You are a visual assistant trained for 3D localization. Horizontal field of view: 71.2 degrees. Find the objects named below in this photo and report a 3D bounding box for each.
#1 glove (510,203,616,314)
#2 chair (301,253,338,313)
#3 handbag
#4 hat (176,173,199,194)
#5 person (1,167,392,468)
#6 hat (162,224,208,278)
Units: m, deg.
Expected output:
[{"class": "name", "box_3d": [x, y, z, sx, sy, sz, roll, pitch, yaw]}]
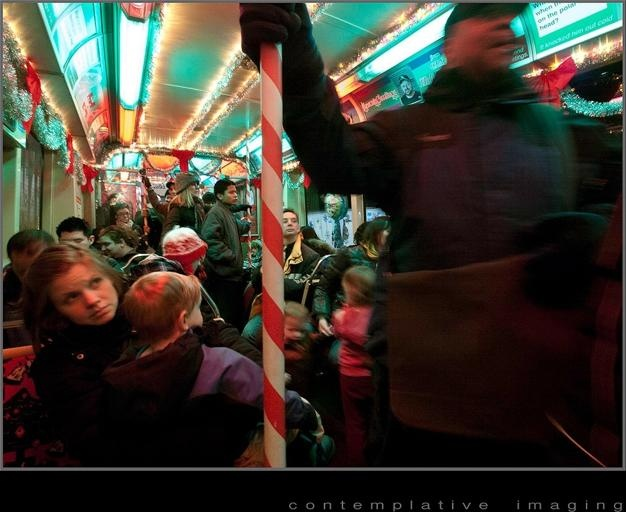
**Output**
[{"class": "glove", "box_3d": [0.904, 0.006, 1.582, 0.279, 0.352, 0.365, 4, 6, -43]}, {"class": "chair", "box_3d": [-0.026, 0.092, 1.719, 0.182, 0.257, 0.162, 4, -2, -10]}, {"class": "handbag", "box_3d": [0.778, 0.432, 1.936, 0.830, 0.681, 0.757, 14, -17, -37]}, {"class": "hat", "box_3d": [-0.499, -0.288, 1.752, 0.089, 0.072, 0.068, -17, 9, -14]}, {"class": "person", "box_3d": [-0.701, 0.342, 2.011, 1.093, 0.954, 0.688, 0, -7, -19]}, {"class": "hat", "box_3d": [-0.515, -0.047, 1.789, 0.165, 0.185, 0.188, 34, 32, 32]}]
